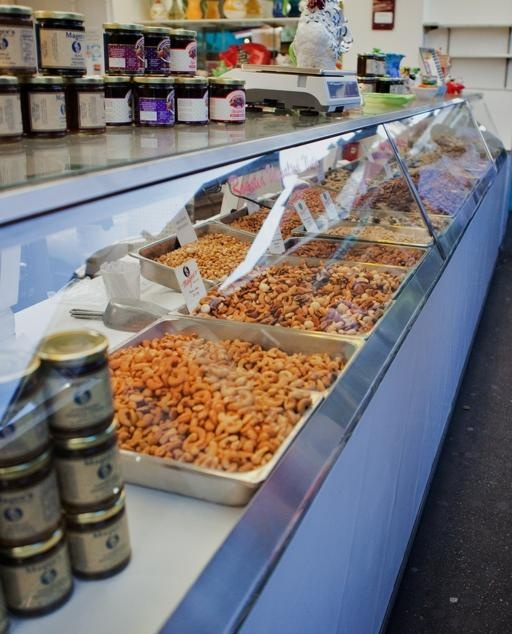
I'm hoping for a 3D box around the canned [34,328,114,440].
[{"bbox_3d":[-0.155,0.065,0.402,0.064,0.066,0.062,-5,6,-39],"label":"canned"}]

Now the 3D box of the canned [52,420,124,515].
[{"bbox_3d":[-0.151,0.140,0.435,0.070,0.072,0.069,-7,-6,-25],"label":"canned"}]

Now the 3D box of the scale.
[{"bbox_3d":[0.143,-0.838,1.675,0.400,0.125,0.415,17,31,24],"label":"scale"}]

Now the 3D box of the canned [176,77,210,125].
[{"bbox_3d":[-0.132,-0.467,0.998,0.088,0.090,0.090,22,32,36],"label":"canned"}]

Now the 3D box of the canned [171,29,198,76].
[{"bbox_3d":[-0.182,-0.667,1.159,0.090,0.094,0.088,5,30,2],"label":"canned"}]

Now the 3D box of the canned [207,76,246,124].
[{"bbox_3d":[-0.065,-0.487,1.037,0.102,0.102,0.100,9,29,15],"label":"canned"}]

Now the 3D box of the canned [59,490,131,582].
[{"bbox_3d":[-0.155,0.217,0.456,0.062,0.065,0.063,-16,-11,39],"label":"canned"}]

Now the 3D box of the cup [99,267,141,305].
[{"bbox_3d":[-0.297,-0.067,0.997,0.069,0.071,0.062,11,37,9],"label":"cup"}]
